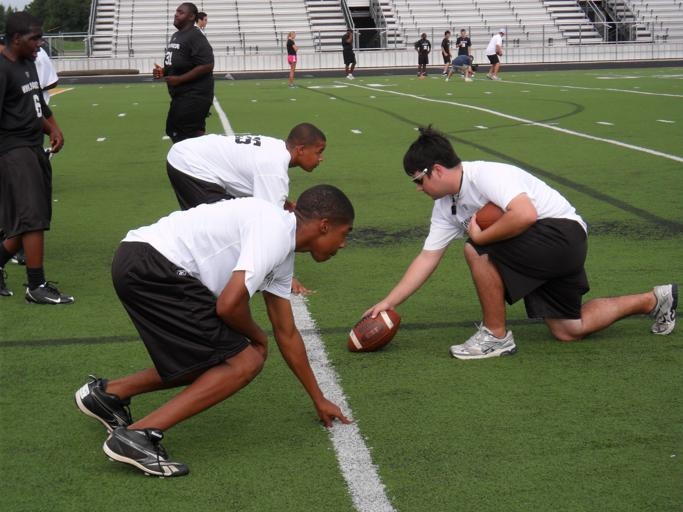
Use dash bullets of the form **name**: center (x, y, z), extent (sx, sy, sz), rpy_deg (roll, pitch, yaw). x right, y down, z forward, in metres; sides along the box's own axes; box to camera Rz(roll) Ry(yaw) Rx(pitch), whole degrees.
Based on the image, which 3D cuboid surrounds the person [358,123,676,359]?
- **person**: center (1.074, -0.104, 4.377), extent (1.831, 1.450, 0.575), rpy_deg (-3, 20, 1)

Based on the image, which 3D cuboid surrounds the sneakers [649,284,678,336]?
- **sneakers**: center (2.103, 0.342, 4.641), extent (0.205, 0.366, 0.150), rpy_deg (-8, 19, 1)

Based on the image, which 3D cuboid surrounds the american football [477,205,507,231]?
- **american football**: center (0.899, -0.251, 4.298), extent (0.173, 0.175, 0.157), rpy_deg (6, 10, -8)

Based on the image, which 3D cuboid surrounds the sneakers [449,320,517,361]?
- **sneakers**: center (0.895, 0.562, 4.478), extent (0.475, 0.206, 0.172), rpy_deg (-2, -3, -6)

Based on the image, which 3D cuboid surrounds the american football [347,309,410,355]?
- **american football**: center (0.206, 0.485, 4.486), extent (0.338, 0.193, 0.215), rpy_deg (-31, -7, -17)

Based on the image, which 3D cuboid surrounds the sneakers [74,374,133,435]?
- **sneakers**: center (-1.201, 0.771, 3.565), extent (0.148, 0.423, 0.177), rpy_deg (28, 67, 37)

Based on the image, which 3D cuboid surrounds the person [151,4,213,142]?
- **person**: center (-1.781, -2.053, 7.946), extent (0.673, 1.567, 0.865), rpy_deg (-8, 21, -9)

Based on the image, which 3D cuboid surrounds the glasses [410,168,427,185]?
- **glasses**: center (0.470, -0.484, 4.190), extent (0.092, 0.027, 0.084), rpy_deg (-36, -4, -26)

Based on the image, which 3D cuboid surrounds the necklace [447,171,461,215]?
- **necklace**: center (0.694, -0.403, 4.316), extent (0.074, 0.245, 0.207), rpy_deg (4, 20, 25)

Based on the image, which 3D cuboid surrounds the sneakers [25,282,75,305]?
- **sneakers**: center (-2.242, 0.286, 5.383), extent (0.403, 0.147, 0.151), rpy_deg (2, 3, -1)

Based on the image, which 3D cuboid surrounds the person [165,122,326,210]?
- **person**: center (-0.670, -0.598, 4.692), extent (0.952, 0.525, 0.662), rpy_deg (0, 25, 0)
